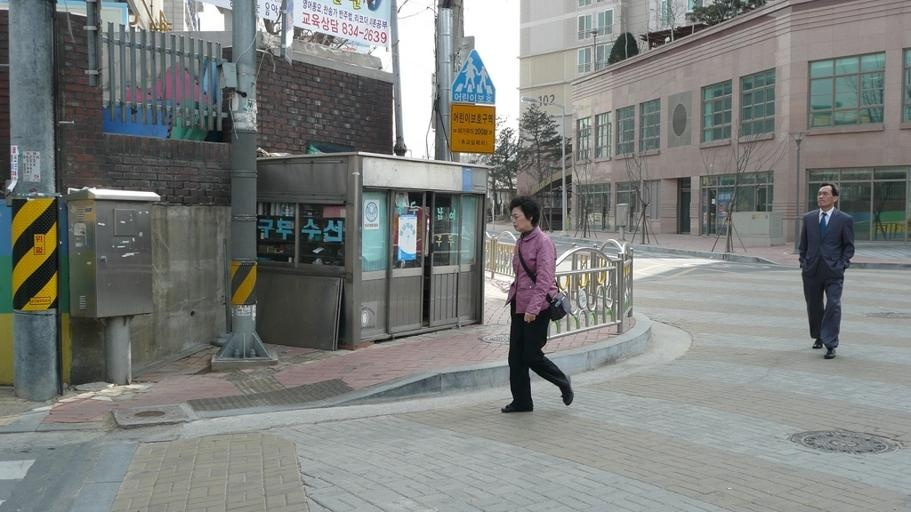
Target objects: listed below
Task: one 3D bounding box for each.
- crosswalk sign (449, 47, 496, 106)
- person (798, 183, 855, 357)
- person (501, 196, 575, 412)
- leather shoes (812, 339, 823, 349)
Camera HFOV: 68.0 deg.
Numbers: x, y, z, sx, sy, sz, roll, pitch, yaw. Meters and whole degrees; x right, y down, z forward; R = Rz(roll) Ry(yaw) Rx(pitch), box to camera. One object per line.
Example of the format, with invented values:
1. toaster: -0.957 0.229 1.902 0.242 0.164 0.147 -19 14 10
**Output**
1. crosswalk sign: 0.368 -3.833 14.534 1.038 1.065 0.023 -1 6 -16
2. person: 6.848 0.218 12.336 1.117 3.099 1.275 0 0 35
3. person: 1.178 0.711 9.583 0.914 3.082 0.647 2 13 6
4. leather shoes: 6.704 1.662 12.386 0.111 0.211 0.337 -4 -6 40
